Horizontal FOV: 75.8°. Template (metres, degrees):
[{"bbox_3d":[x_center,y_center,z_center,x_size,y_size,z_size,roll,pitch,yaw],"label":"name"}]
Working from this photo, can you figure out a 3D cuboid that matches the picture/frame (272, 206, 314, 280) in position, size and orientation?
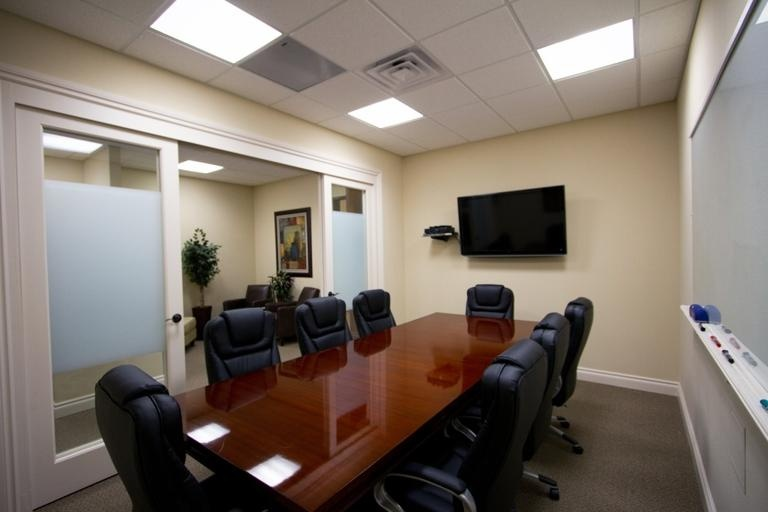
[{"bbox_3d":[-1.511,-0.213,8.364,1.208,1.474,0.063,0,5,42],"label":"picture/frame"}]

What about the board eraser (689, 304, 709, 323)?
[{"bbox_3d":[2.444,0.446,3.801,0.129,0.081,0.242,0,11,32],"label":"board eraser"}]

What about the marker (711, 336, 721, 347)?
[{"bbox_3d":[2.293,0.597,3.400,0.028,0.031,0.104,6,11,11],"label":"marker"}]

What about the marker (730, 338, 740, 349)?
[{"bbox_3d":[2.308,0.579,3.231,0.027,0.007,0.083,-40,-1,18],"label":"marker"}]

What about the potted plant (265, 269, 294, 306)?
[{"bbox_3d":[-1.747,0.565,8.353,0.382,0.528,0.413,-20,25,-40],"label":"potted plant"}]
